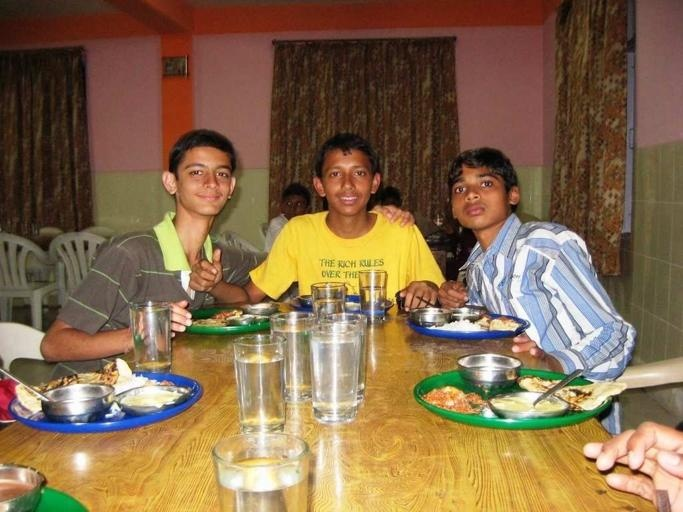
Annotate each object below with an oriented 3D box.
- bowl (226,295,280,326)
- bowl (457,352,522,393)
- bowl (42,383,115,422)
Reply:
[{"bbox_3d":[-0.325,0.172,1.880,0.126,0.034,0.128,-4,12,1],"label":"bowl"},{"bbox_3d":[0.347,0.282,1.282,0.155,0.056,0.149,-4,5,0],"label":"bowl"},{"bbox_3d":[-0.562,0.309,1.125,0.090,0.035,0.087,3,4,0],"label":"bowl"}]
